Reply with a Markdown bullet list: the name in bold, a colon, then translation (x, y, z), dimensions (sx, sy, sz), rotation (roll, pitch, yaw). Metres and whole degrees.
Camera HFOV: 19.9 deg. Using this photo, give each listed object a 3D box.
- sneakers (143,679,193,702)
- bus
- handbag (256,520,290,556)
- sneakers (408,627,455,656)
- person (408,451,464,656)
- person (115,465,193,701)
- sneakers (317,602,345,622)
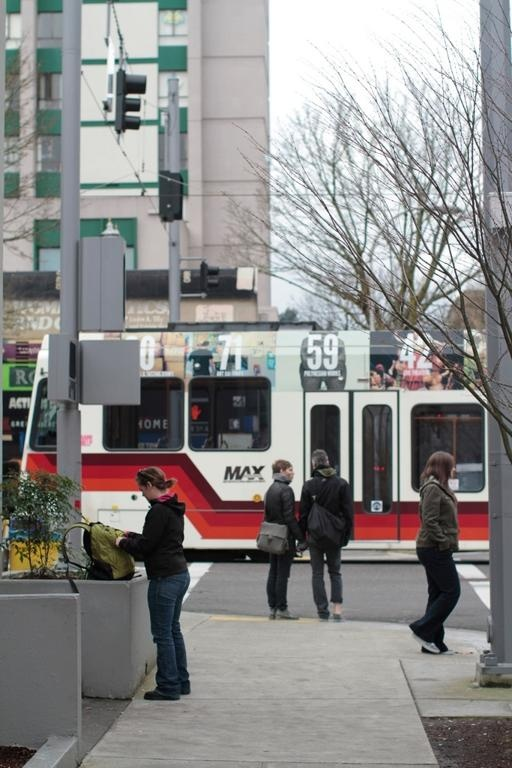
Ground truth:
- **sneakers**: translation (-0.581, 2.048, 9.717), dimensions (0.273, 0.163, 0.118), rotation (5, -3, -8)
- **bus**: translation (-0.148, 0.824, 19.047), dimensions (5.143, 3.231, 1.979), rotation (2, 1, -6)
- **handbag**: translation (0.132, 1.450, 13.573), dimensions (0.188, 0.315, 0.370), rotation (2, -2, -43)
- **sneakers**: translation (1.378, 2.054, 11.622), dimensions (0.310, 0.165, 0.100), rotation (35, -11, -14)
- **person**: translation (1.407, 1.336, 11.455), dimensions (0.336, 1.560, 0.365), rotation (1, -2, -17)
- **person**: translation (-0.655, 1.330, 9.717), dimensions (0.449, 1.523, 0.411), rotation (0, -1, -4)
- **sneakers**: translation (0.694, 2.121, 13.633), dimensions (0.242, 0.328, 0.143), rotation (2, -4, 7)
